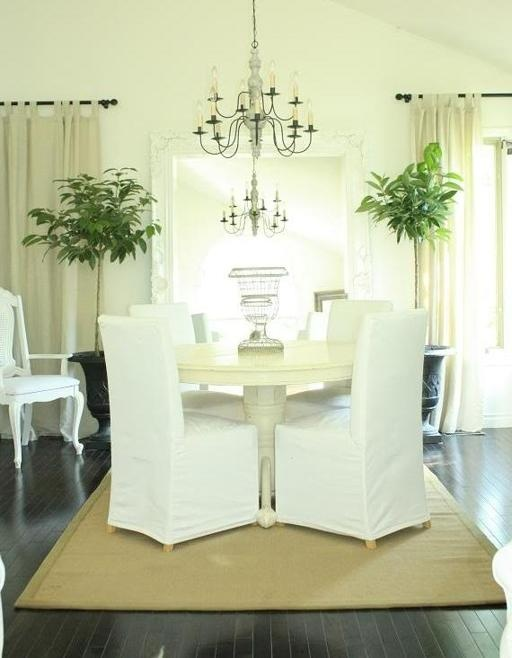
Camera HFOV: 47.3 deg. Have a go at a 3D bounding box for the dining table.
[{"bbox_3d":[0.086,0.326,2.429,0.688,0.540,0.714,-2,-3,35],"label":"dining table"}]
